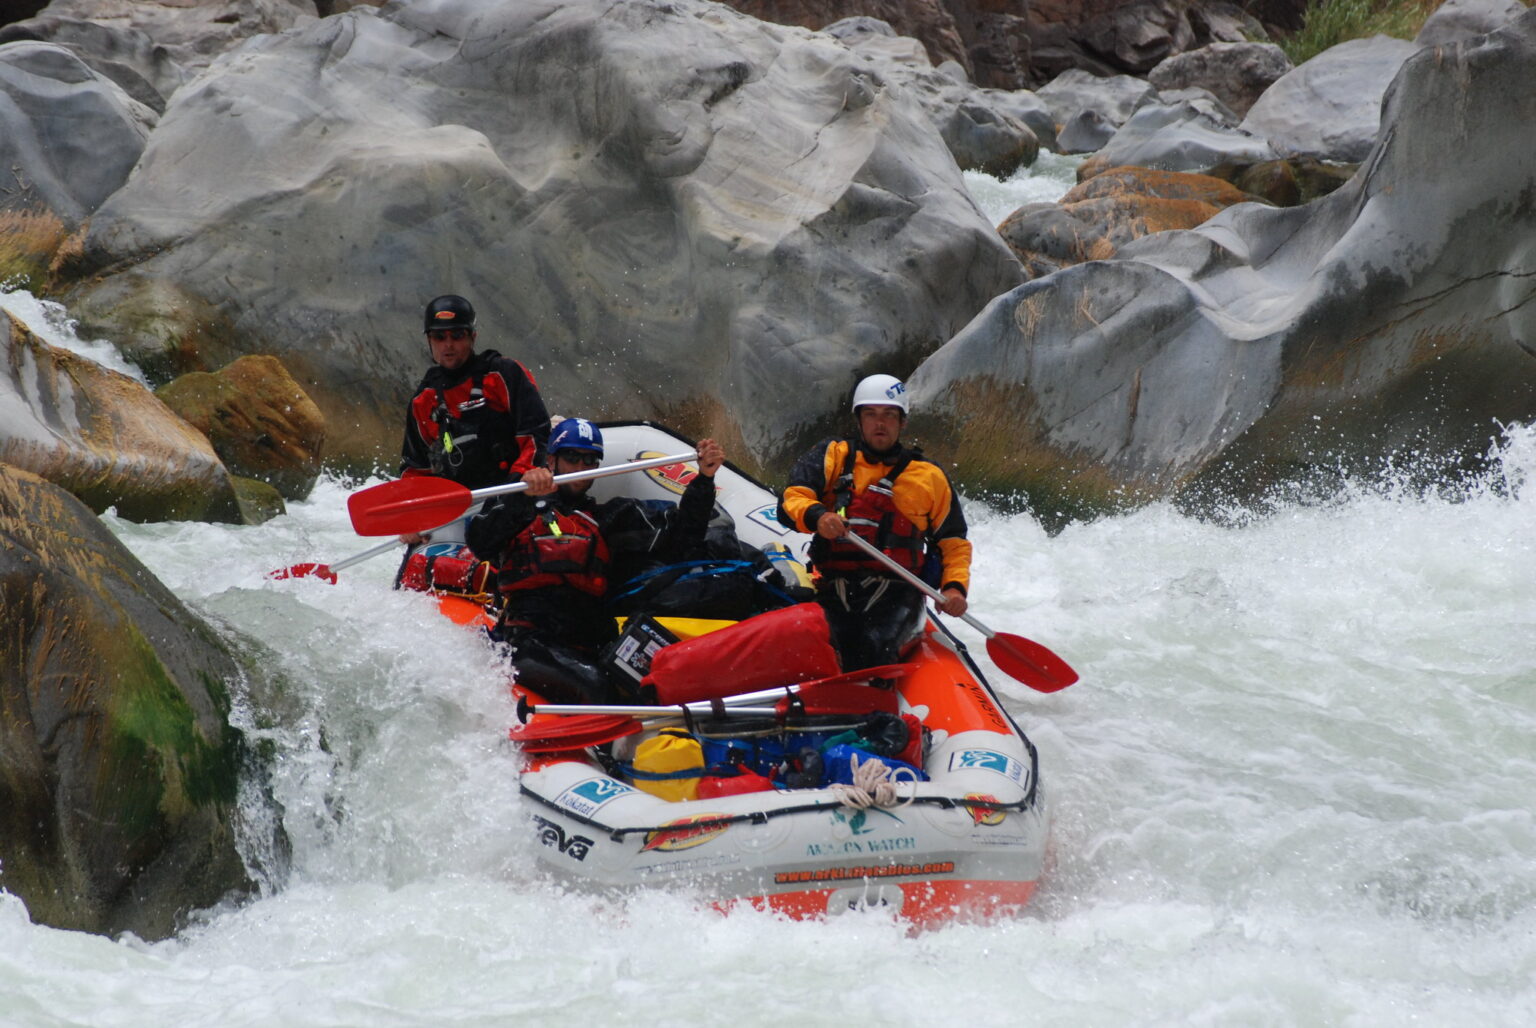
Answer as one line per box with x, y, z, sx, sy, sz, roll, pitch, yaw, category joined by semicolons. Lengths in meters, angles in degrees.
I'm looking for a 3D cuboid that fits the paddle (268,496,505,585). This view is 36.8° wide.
-2.659;0.215;16.442;1.527;0.154;0.194;-18;79;-4;paddle

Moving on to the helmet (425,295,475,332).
-2.225;-1.385;16.218;0.501;0.694;0.247;-3;90;-7;helmet

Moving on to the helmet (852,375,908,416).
0.761;-0.837;15.705;0.336;0.266;0.359;-1;48;-1;helmet

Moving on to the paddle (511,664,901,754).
-0.430;1.312;15.380;1.746;0.254;0.282;-7;49;-3;paddle
